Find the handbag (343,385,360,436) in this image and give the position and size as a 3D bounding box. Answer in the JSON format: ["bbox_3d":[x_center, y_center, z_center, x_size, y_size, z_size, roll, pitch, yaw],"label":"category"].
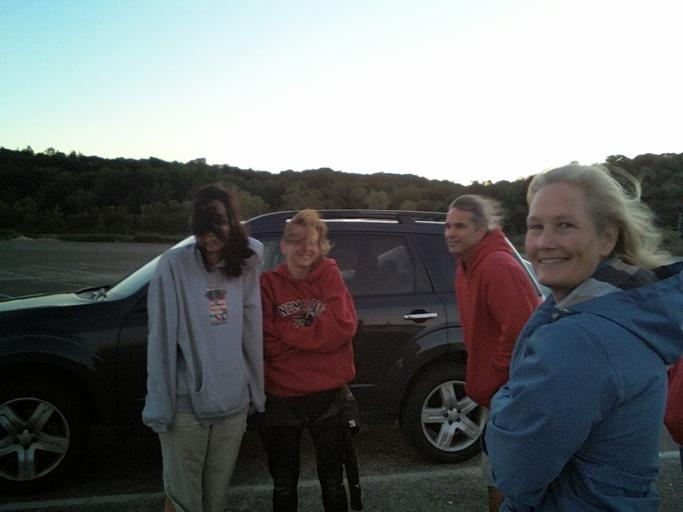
[{"bbox_3d":[0.057,0.890,2.954,0.099,0.220,0.173,-5,-4,5],"label":"handbag"}]
